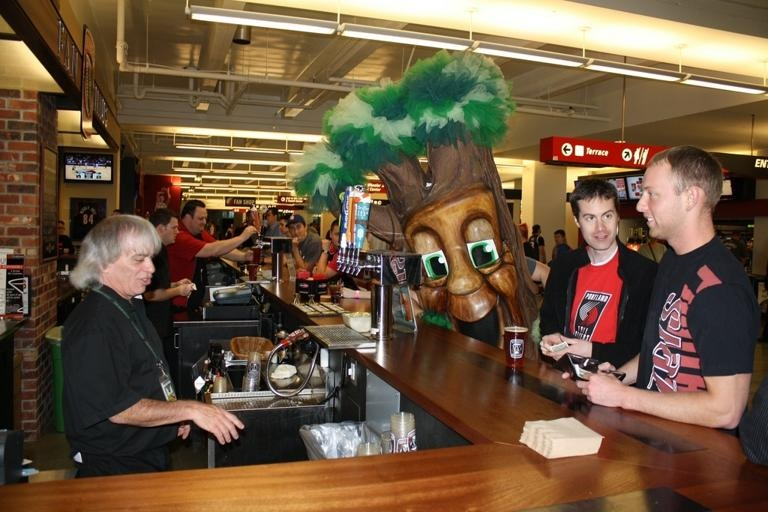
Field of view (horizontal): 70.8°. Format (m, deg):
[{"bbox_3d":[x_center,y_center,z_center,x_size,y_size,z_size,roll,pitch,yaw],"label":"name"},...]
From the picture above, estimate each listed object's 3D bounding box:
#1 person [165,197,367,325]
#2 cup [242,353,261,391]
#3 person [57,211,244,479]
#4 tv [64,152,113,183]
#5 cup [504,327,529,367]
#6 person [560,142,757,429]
[{"bbox_3d":[-1.676,-0.134,6.818,1.941,0.883,1.151,-1,6,-16],"label":"person"},{"bbox_3d":[-0.919,0.817,3.706,0.132,0.272,0.116,-4,13,-14],"label":"cup"},{"bbox_3d":[-1.324,0.520,2.837,0.747,1.405,0.605,-4,13,-14],"label":"person"},{"bbox_3d":[-5.712,-1.683,10.284,0.568,0.388,0.058,-1,9,-21],"label":"tv"},{"bbox_3d":[0.768,0.522,3.183,0.127,0.247,0.181,2,13,12],"label":"cup"},{"bbox_3d":[1.359,0.143,2.548,0.722,1.278,0.530,7,15,32],"label":"person"}]
